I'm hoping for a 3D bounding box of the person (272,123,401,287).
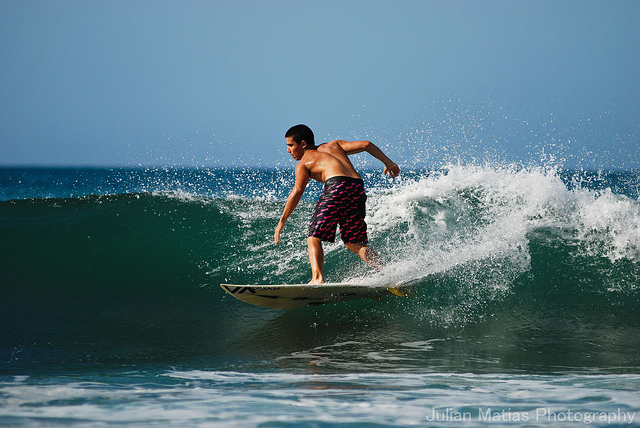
[{"bbox_3d":[0.139,-0.115,9.005,1.335,1.994,0.659,0,4,0],"label":"person"}]

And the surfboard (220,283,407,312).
[{"bbox_3d":[0.019,1.070,9.025,1.777,0.430,0.233,2,22,-2],"label":"surfboard"}]

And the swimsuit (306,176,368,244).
[{"bbox_3d":[0.237,-0.052,9.004,0.909,0.827,0.475,3,9,-27],"label":"swimsuit"}]
